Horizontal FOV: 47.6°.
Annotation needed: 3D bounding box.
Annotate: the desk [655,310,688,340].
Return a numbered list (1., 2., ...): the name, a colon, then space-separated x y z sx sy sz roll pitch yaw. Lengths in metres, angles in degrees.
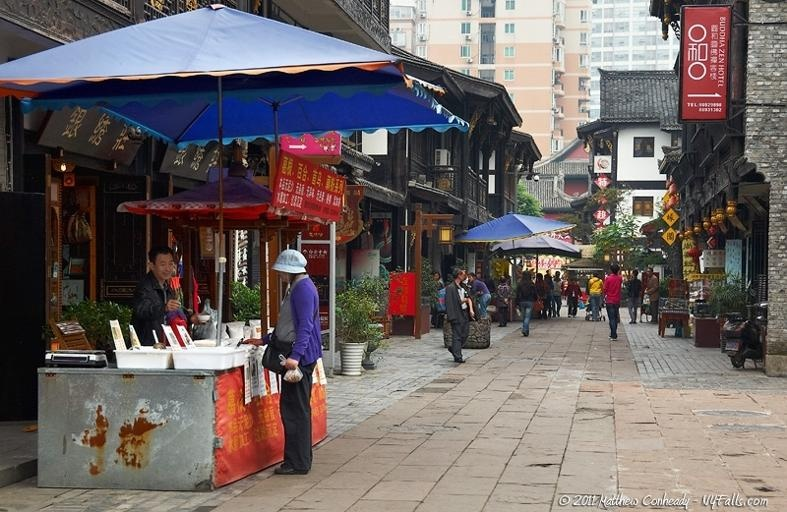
1. desk: 7.880 1.946 25.251 0.731 0.749 0.746 1 -5 2

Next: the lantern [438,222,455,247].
1. lantern: 1.509 -0.611 26.149 0.500 0.707 0.512 0 -2 -1

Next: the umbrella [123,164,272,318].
1. umbrella: -2.600 -0.223 12.654 2.563 2.205 0.990 0 0 -2

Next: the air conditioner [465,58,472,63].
1. air conditioner: 7.195 -18.940 86.900 0.795 0.754 0.390 0 -3 -2

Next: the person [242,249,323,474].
1. person: -1.298 1.284 10.804 0.867 2.655 1.072 2 -8 -22

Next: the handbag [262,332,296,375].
1. handbag: -1.387 1.168 10.513 0.184 0.443 0.423 6 3 -45

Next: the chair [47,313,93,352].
1. chair: -4.361 1.045 12.022 0.383 0.565 0.431 -14 -9 32

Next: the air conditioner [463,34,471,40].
1. air conditioner: 7.053 -21.163 86.671 0.856 0.814 0.479 0 -2 1

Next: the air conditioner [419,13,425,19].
1. air conditioner: 2.699 -23.324 86.472 0.669 0.481 0.654 -1 6 -1

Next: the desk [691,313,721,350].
1. desk: 7.591 1.900 21.859 0.635 0.856 0.892 0 0 10

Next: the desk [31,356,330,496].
1. desk: -2.599 1.957 10.652 1.648 1.319 2.765 -1 0 1

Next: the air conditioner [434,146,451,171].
1. air conditioner: 1.583 -3.242 29.927 0.482 0.930 0.954 -1 -3 18

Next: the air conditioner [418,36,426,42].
1. air conditioner: 2.680 -21.004 86.119 0.580 0.384 0.585 0 -2 -5

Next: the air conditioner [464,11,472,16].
1. air conditioner: 7.243 -23.525 86.689 0.522 0.283 0.367 -1 -1 3
